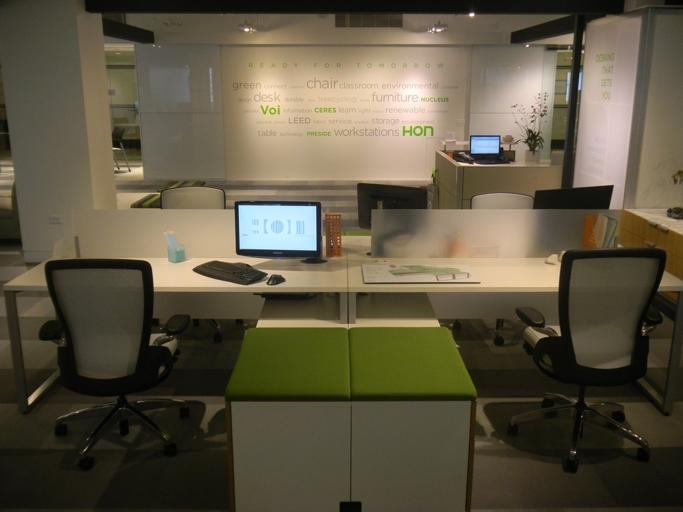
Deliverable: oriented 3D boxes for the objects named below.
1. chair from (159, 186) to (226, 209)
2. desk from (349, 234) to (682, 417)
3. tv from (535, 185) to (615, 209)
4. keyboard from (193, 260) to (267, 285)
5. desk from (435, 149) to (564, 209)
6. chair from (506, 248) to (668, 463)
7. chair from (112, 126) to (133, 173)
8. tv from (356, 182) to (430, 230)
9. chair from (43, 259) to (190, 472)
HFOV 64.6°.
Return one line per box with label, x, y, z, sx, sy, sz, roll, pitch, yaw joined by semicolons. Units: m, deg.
chair;-1.568;-0.605;5.679;0.641;0.207;0.145;0;16;1
desk;1.319;0.901;4.854;2.479;1.151;1.272;1;26;3
tv;2.089;-0.485;4.973;0.502;0.281;0.342;0;2;8
keyboard;-0.896;0.131;4.322;0.441;0.070;0.249;8;18;21
desk;2.207;-1.136;8.216;1.151;0.721;1.163;-1;17;-1
chair;1.723;0.665;3.738;0.917;1.513;0.575;1;16;5
chair;-5.209;-2.493;12.706;0.344;1.013;0.677;-8;18;-23
tv;0.390;-0.465;5.117;0.669;0.459;0.160;3;11;28
chair;-1.640;0.660;3.908;0.926;1.474;0.959;4;13;11
